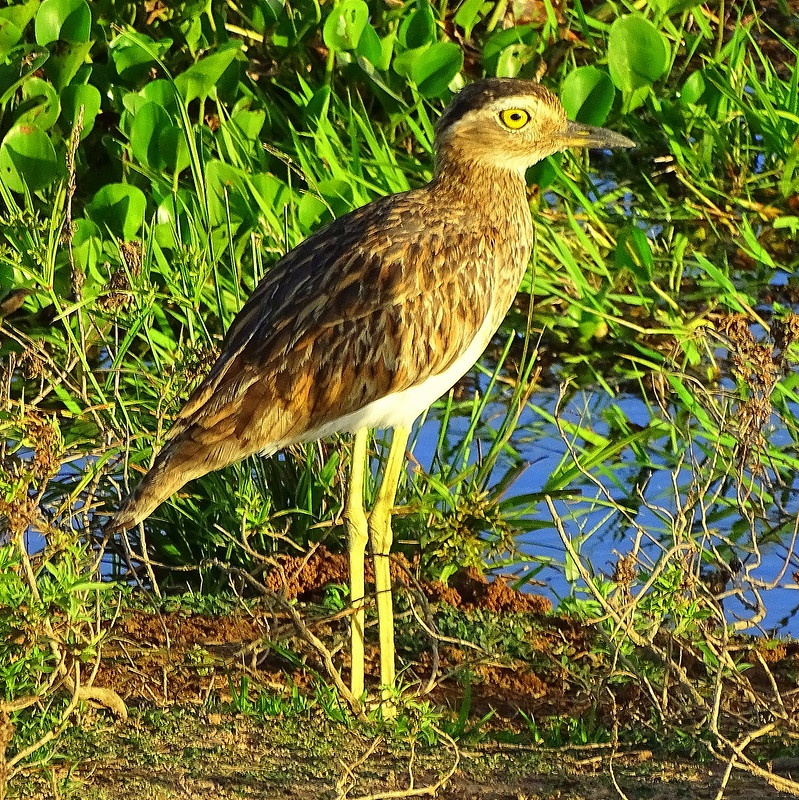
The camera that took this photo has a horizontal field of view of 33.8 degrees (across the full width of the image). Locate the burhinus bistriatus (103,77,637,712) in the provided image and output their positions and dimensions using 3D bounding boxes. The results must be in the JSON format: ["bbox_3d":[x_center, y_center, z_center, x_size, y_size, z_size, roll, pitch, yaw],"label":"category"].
[{"bbox_3d":[-0.122,-0.245,4.401,0.838,1.118,1.837,17,41,17],"label":"burhinus bistriatus"}]
